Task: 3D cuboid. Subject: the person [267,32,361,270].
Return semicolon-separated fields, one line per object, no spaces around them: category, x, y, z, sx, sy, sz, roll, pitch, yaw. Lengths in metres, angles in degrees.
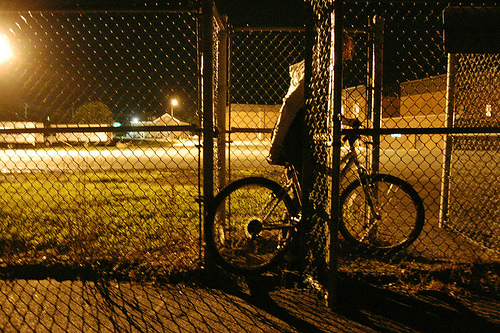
person;0.708;-0.267;7.187;1.048;3.183;0.555;3;0;44
